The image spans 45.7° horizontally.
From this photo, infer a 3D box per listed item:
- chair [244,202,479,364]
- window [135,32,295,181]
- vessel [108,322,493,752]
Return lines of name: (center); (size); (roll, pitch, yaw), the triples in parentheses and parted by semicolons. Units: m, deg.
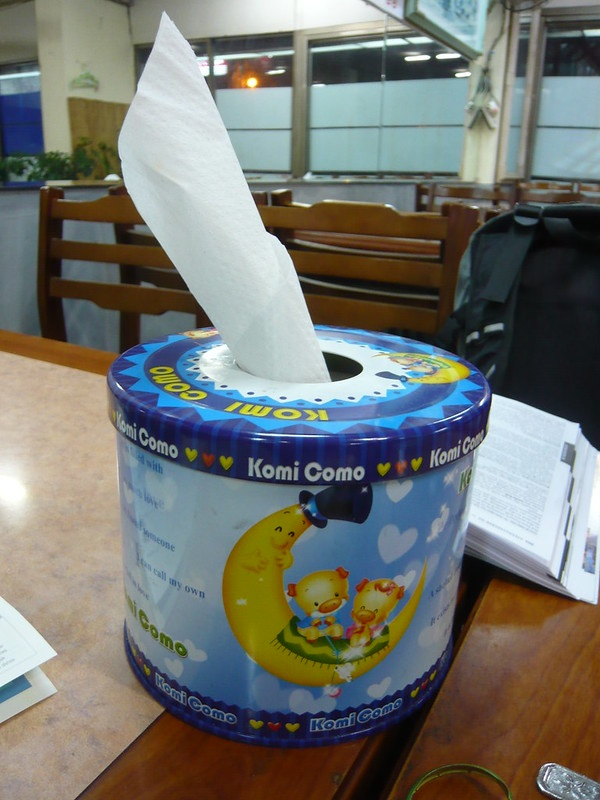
chair: (0.109, -0.224, 1.174); (0.435, 0.254, 0.242); (8, 36, 18)
window: (-0.734, -2.477, 6.140); (1.380, 1.087, 0.031); (-4, 39, -7)
vessel: (-0.007, 0.066, 0.380); (0.187, 0.138, 0.167); (12, 24, 17)
